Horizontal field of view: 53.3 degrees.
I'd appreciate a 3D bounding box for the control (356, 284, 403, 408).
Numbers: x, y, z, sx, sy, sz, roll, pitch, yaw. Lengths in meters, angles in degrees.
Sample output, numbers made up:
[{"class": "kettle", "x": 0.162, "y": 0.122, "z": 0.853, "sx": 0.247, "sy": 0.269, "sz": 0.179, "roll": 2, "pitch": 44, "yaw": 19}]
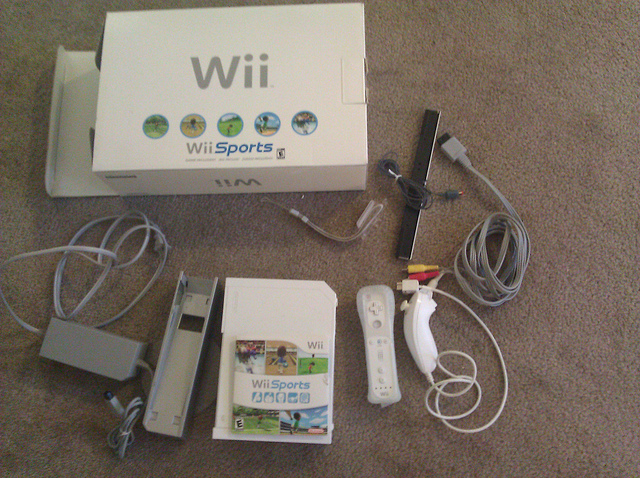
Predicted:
[{"class": "control", "x": 0.183, "y": 0.326, "z": 1.983, "sx": 0.115, "sy": 0.085, "sz": 0.387, "roll": -5, "pitch": 82, "yaw": 8}]
